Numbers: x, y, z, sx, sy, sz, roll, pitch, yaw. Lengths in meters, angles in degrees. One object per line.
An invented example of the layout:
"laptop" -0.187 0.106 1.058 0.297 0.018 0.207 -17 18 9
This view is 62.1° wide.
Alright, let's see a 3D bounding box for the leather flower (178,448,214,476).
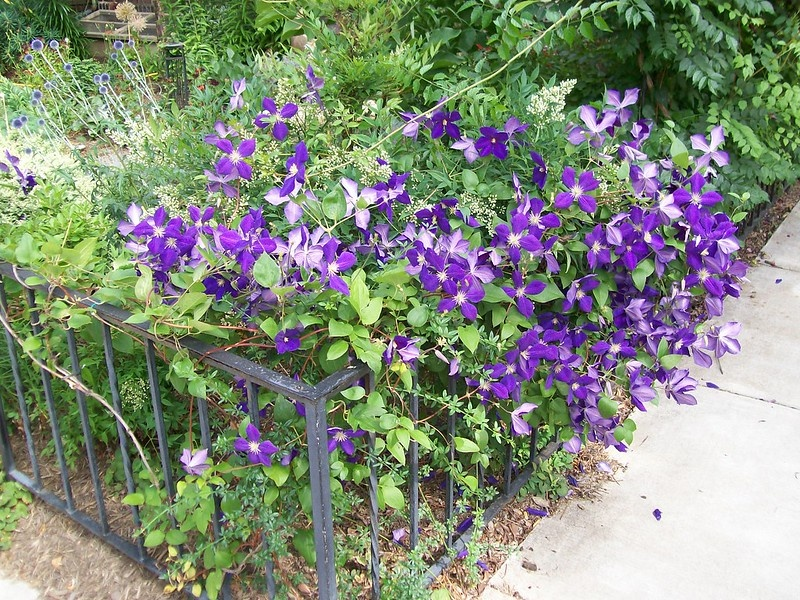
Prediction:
"leather flower" -0.652 0.515 2.161 0.083 0.097 0.048 -3 -5 16
